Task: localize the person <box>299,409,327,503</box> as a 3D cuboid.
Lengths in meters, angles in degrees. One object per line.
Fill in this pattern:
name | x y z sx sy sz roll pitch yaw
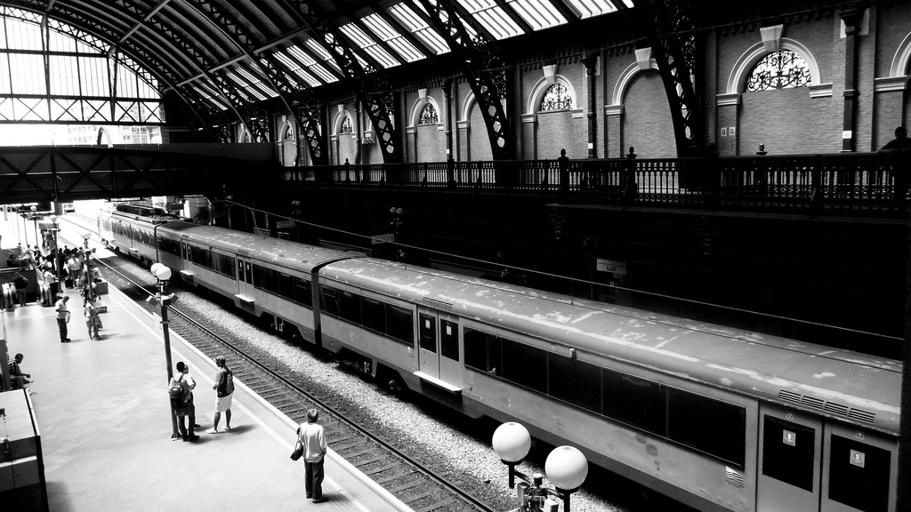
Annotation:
person | -4.083 5.632 18.807 0.770 2.701 0.657 -6 9 -14
